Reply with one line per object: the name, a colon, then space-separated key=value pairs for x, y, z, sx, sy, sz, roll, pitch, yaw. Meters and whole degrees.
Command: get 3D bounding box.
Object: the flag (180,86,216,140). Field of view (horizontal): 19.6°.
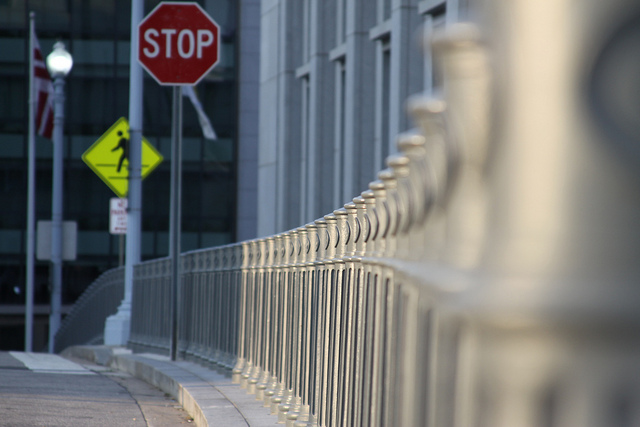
flag: x=-3.435 y=-3.011 z=55.550 sx=0.984 sy=2.061 sz=0.765 roll=-2 pitch=-4 yaw=-19
